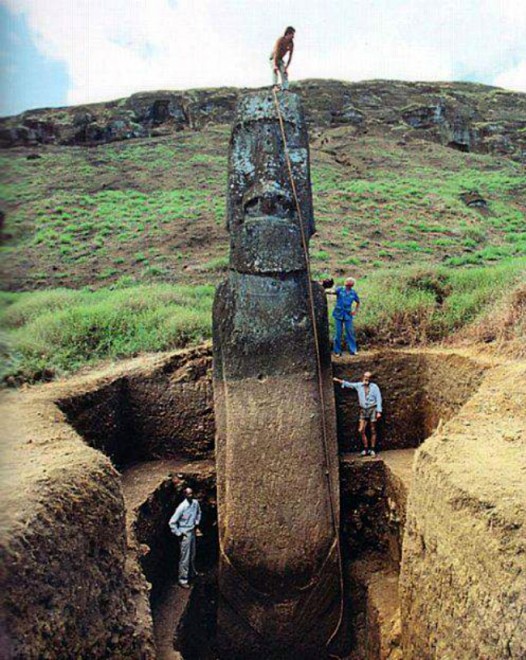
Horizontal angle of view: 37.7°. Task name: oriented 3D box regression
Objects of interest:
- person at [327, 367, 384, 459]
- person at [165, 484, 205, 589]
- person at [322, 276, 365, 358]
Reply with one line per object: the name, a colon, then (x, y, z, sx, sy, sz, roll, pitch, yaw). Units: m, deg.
person: (1.049, 0.912, 8.425, 0.495, 0.931, 0.445, -2, 9, 8)
person: (-0.808, 2.134, 7.974, 0.271, 1.069, 0.441, -3, 9, 1)
person: (0.911, -0.153, 8.790, 0.324, 0.891, 1.104, -2, 8, 7)
